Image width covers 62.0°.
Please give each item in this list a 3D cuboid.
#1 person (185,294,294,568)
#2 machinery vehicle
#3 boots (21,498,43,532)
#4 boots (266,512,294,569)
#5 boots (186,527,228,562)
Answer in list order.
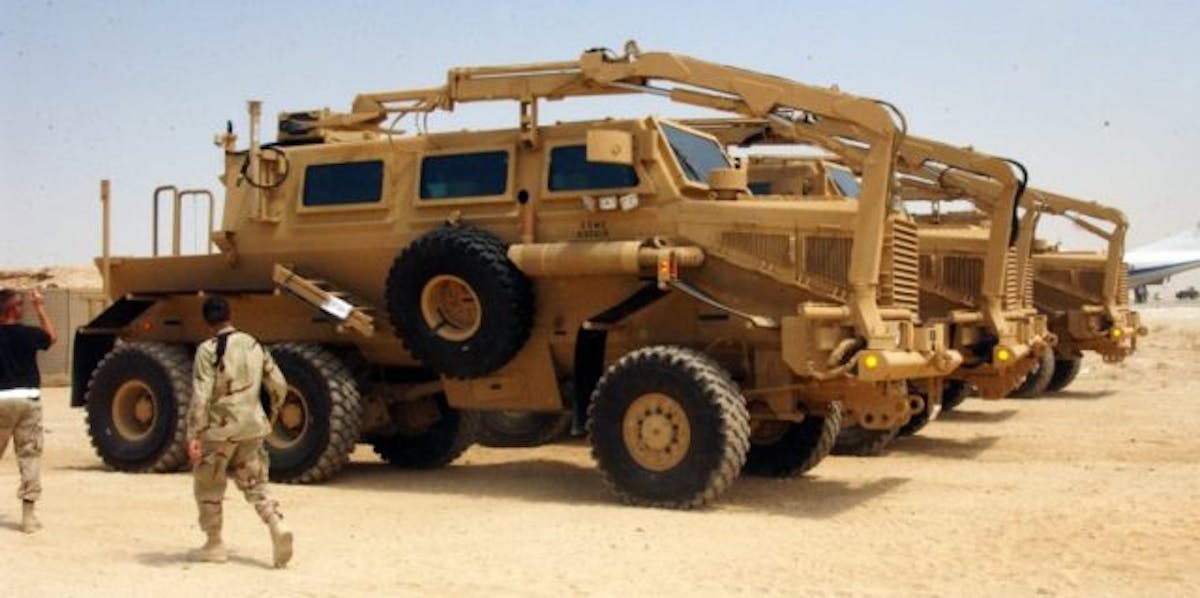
[{"bbox_3d":[-4.676,1.683,12.824,1.238,3.378,1.161,-3,8,-16],"label":"person"},{"bbox_3d":[-0.630,-0.306,17.314,12.821,4.413,9.400,-2,0,22],"label":"machinery vehicle"},{"bbox_3d":[-7.848,2.946,13.717,0.252,0.408,0.412,-5,9,-32],"label":"boots"},{"bbox_3d":[-4.142,3.108,12.989,0.367,0.615,0.966,-2,-21,-29],"label":"boots"},{"bbox_3d":[-5.112,3.202,13.007,0.752,0.441,0.239,1,-3,13],"label":"boots"}]
